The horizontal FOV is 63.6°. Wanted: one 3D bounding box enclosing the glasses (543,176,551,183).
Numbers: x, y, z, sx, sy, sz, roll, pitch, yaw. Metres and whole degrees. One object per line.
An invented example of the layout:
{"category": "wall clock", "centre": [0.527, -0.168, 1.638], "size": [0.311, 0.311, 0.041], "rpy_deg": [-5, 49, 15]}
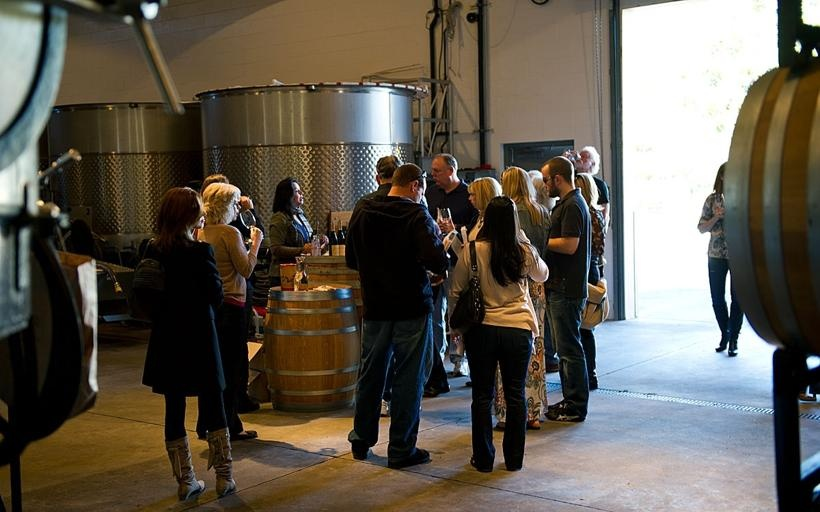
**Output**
{"category": "glasses", "centre": [1.250, -0.701, 6.024], "size": [0.054, 0.058, 0.018], "rpy_deg": [6, 8, 28]}

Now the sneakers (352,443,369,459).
{"category": "sneakers", "centre": [-0.389, 1.519, 5.160], "size": [0.132, 0.134, 0.136], "rpy_deg": [-1, 3, -7]}

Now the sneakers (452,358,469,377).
{"category": "sneakers", "centre": [0.600, 1.289, 7.588], "size": [0.114, 0.258, 0.262], "rpy_deg": [-4, -14, 14]}

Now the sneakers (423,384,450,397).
{"category": "sneakers", "centre": [0.274, 1.375, 6.765], "size": [0.098, 0.123, 0.293], "rpy_deg": [-8, -11, 41]}

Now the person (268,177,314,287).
{"category": "person", "centre": [-1.239, -0.242, 6.918], "size": [0.452, 1.142, 0.645], "rpy_deg": [-2, 5, -12]}

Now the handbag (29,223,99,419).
{"category": "handbag", "centre": [-1.629, 0.348, 3.148], "size": [0.276, 0.893, 0.670], "rpy_deg": [-4, 6, -26]}

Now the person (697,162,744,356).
{"category": "person", "centre": [3.730, 0.051, 7.984], "size": [0.495, 2.304, 0.910], "rpy_deg": [1, 5, 25]}

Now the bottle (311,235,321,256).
{"category": "bottle", "centre": [-0.938, -0.113, 6.680], "size": [0.100, 0.178, 0.346], "rpy_deg": [-2, 6, -5]}

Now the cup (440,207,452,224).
{"category": "cup", "centre": [0.343, -0.388, 6.350], "size": [0.109, 0.190, 0.178], "rpy_deg": [-4, -12, -1]}

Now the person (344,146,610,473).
{"category": "person", "centre": [0.261, 0.440, 5.020], "size": [1.491, 2.284, 0.453], "rpy_deg": [0, 5, 14]}

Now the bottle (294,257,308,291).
{"category": "bottle", "centre": [-1.033, 0.152, 6.357], "size": [0.124, 0.278, 0.403], "rpy_deg": [-2, 5, -9]}

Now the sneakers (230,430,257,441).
{"category": "sneakers", "centre": [-1.421, 1.532, 5.658], "size": [0.218, 0.061, 0.081], "rpy_deg": [-3, -1, 6]}

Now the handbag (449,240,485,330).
{"category": "handbag", "centre": [0.424, 0.221, 4.862], "size": [0.248, 0.655, 0.202], "rpy_deg": [-1, 5, 7]}
